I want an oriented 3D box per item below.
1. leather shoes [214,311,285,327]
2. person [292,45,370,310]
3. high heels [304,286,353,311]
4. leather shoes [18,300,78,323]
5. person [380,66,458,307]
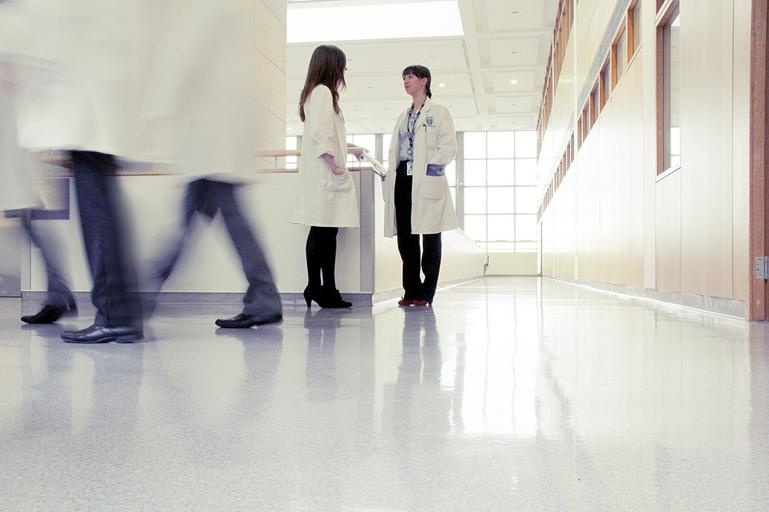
[{"bbox_3d":[-0.628,0.273,2.748,0.286,0.085,0.105,3,-8,-29],"label":"leather shoes"},{"bbox_3d":[-0.353,-0.471,3.742,0.376,1.631,0.589,0,2,-3],"label":"person"},{"bbox_3d":[-0.375,0.272,3.764,0.357,0.175,0.120,0,0,-10],"label":"high heels"},{"bbox_3d":[-1.670,0.266,2.924,0.315,0.125,0.105,4,-5,-34],"label":"leather shoes"},{"bbox_3d":[0.234,-0.486,4.097,0.395,1.609,0.511,-1,3,-24],"label":"person"}]
